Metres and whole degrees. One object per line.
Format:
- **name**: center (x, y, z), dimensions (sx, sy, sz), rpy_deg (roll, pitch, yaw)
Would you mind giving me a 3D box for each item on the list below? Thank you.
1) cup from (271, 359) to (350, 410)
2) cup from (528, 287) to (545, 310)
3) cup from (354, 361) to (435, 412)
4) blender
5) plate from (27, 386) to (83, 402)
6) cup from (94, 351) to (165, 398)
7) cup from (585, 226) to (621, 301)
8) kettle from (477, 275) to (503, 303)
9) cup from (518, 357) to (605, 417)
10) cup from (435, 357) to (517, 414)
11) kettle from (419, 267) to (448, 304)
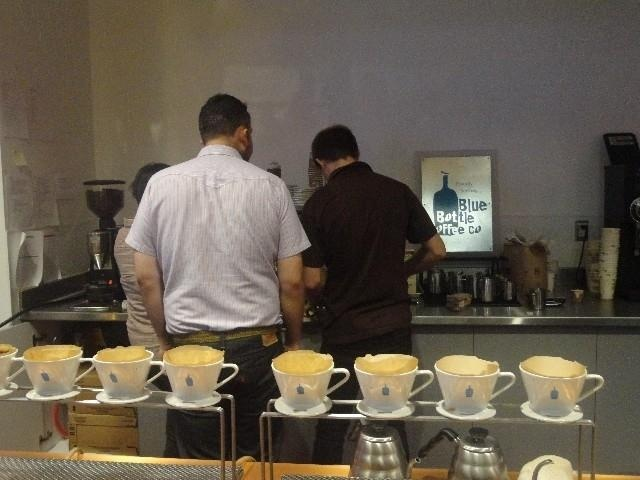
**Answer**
- **cup**: center (-0.035, 0.395, 1.599), dimensions (0.176, 0.084, 0.122), rpy_deg (1, 0, -15)
- **cup**: center (1.155, 0.319, 3.094), dimensions (0.080, 0.113, 0.147), rpy_deg (-1, 1, 10)
- **cup**: center (0.212, 0.400, 1.590), dimensions (0.180, 0.087, 0.126), rpy_deg (1, -1, -9)
- **blender**: center (-1.264, 0.010, 3.370), dimensions (0.238, 0.740, 0.246), rpy_deg (0, 8, 3)
- **plate**: center (-0.763, 0.435, 1.622), dimensions (0.165, 0.034, 0.064), rpy_deg (-1, 1, 8)
- **cup**: center (-0.540, 0.372, 1.632), dimensions (0.127, 0.094, 0.170), rpy_deg (0, -7, 12)
- **cup**: center (1.637, 0.132, 3.364), dimensions (0.139, 0.409, 0.315), rpy_deg (-1, 1, 10)
- **kettle**: center (0.947, 0.274, 3.245), dimensions (0.142, 0.153, 0.145), rpy_deg (-1, 1, 13)
- **cup**: center (0.637, 0.365, 1.597), dimensions (0.210, 0.123, 0.163), rpy_deg (0, -2, 10)
- **cup**: center (0.405, 0.363, 1.603), dimensions (0.212, 0.123, 0.154), rpy_deg (0, -2, 1)
- **kettle**: center (0.651, 0.271, 3.315), dimensions (0.212, 0.190, 0.143), rpy_deg (-1, -1, -11)
